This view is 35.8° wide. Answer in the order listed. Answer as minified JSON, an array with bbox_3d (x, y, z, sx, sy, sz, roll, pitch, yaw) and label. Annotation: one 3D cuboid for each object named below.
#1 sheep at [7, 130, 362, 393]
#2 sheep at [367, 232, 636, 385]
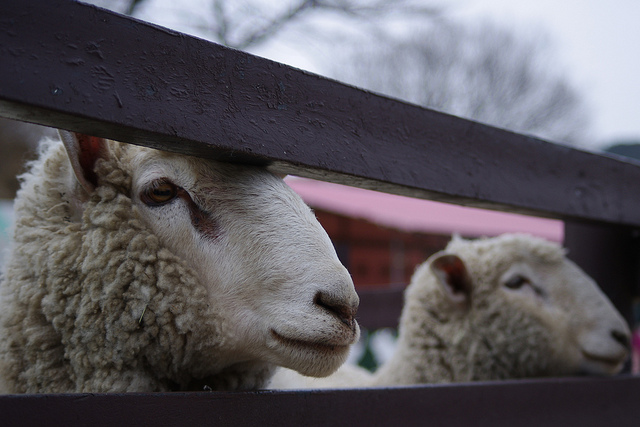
[{"bbox_3d":[-0.440,0.281,4.667,1.255,1.386,1.186,8,-4,18],"label":"sheep"},{"bbox_3d":[0.919,0.485,4.814,1.041,0.839,0.722,1,-7,32],"label":"sheep"}]
